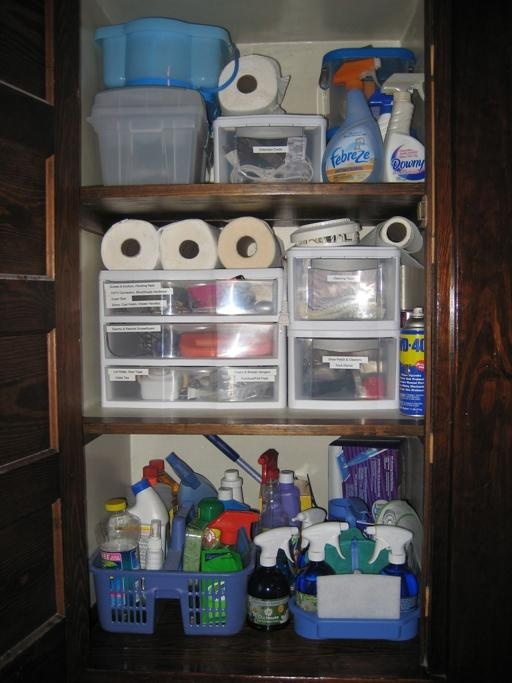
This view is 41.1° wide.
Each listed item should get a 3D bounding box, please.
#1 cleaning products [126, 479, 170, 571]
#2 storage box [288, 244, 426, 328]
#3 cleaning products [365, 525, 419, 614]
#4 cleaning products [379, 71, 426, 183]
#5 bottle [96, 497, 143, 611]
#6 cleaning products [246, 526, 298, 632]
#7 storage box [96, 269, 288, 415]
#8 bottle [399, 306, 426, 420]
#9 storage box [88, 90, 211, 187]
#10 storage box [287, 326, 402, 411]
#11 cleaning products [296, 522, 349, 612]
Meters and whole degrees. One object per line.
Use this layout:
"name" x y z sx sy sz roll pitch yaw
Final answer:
"cleaning products" -0.242 0.422 1.538 0.094 0.224 0.056 4 12 9
"storage box" 0.157 -0.119 1.531 0.297 0.176 0.162 -1 3 -22
"cleaning products" 0.286 0.470 1.433 0.101 0.174 0.111 -1 -2 12
"cleaning products" 0.318 -0.455 1.482 0.083 0.253 0.124 -1 -2 10
"bottle" -0.294 0.456 1.486 0.100 0.204 0.096 -7 -8 -1
"cleaning products" 0.030 0.509 1.478 0.121 0.203 0.091 1 0 -12
"storage box" -0.181 -0.007 1.626 0.455 0.316 0.255 -1 1 -27
"bottle" 0.316 0.044 1.385 0.039 0.220 0.079 1 -2 -44
"storage box" -0.213 -0.424 1.578 0.264 0.202 0.327 2 -1 6
"storage box" 0.232 0.063 1.555 0.275 0.190 0.150 -3 -13 31
"cleaning products" 0.135 0.492 1.461 0.120 0.213 0.088 -1 10 -8
